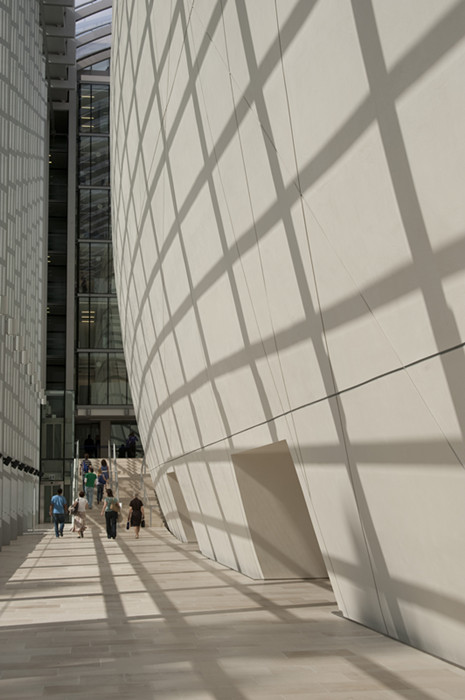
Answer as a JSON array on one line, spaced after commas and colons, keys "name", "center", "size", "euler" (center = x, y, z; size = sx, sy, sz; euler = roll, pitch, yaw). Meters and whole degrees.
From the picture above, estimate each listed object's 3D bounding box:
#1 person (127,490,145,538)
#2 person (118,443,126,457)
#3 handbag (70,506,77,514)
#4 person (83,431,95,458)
[{"name": "person", "center": [-3.968, 6.788, 20.833], "size": [0.600, 1.916, 0.361], "euler": [1, 12, 4]}, {"name": "person", "center": [-10.991, 9.981, 50.316], "size": [0.721, 1.553, 1.619], "euler": [1, -19, -14]}, {"name": "handbag", "center": [-6.303, 6.408, 20.072], "size": [0.214, 0.298, 0.350], "euler": [3, -20, -20]}, {"name": "person", "center": [-14.541, 9.788, 51.400], "size": [1.144, 2.308, 0.742], "euler": [-1, -18, -9]}]
